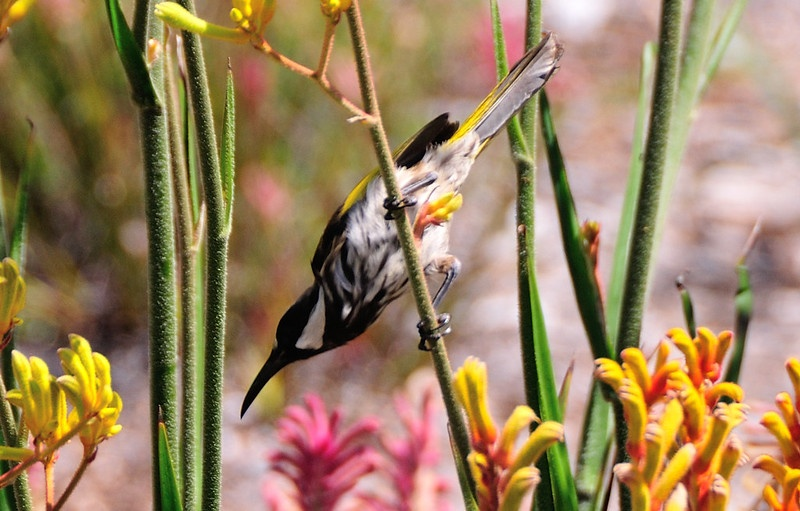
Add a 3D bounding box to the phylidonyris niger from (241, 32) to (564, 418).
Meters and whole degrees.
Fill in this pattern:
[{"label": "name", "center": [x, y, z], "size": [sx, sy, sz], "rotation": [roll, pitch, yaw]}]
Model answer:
[{"label": "phylidonyris niger", "center": [0.011, -0.030, 1.769], "size": [0.227, 0.737, 0.180], "rotation": [20, -17, 49]}]
